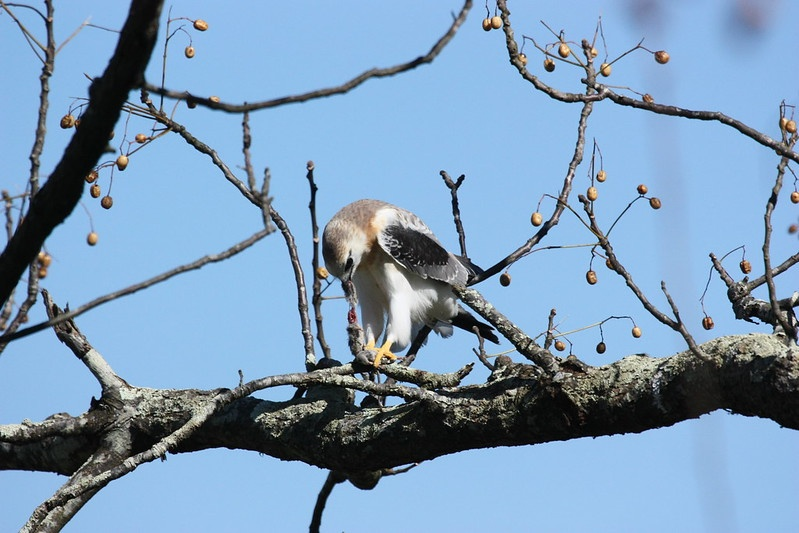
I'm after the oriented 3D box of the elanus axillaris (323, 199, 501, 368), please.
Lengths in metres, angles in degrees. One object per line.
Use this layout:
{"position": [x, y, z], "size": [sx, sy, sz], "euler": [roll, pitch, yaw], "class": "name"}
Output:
{"position": [0.154, 0.048, 11.799], "size": [1.685, 0.798, 1.370], "euler": [-6, -87, -35], "class": "elanus axillaris"}
